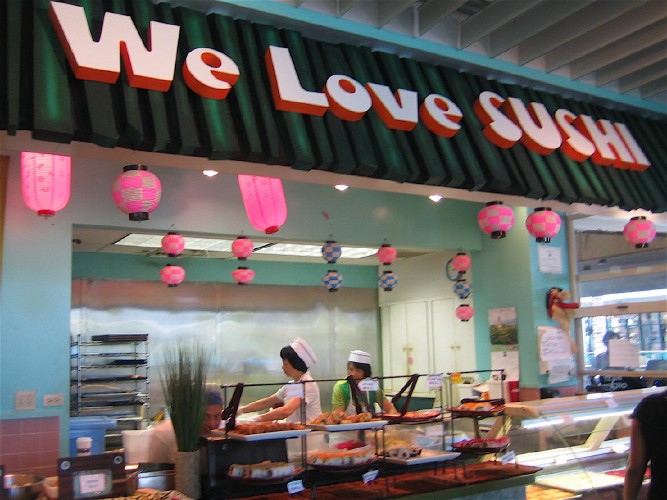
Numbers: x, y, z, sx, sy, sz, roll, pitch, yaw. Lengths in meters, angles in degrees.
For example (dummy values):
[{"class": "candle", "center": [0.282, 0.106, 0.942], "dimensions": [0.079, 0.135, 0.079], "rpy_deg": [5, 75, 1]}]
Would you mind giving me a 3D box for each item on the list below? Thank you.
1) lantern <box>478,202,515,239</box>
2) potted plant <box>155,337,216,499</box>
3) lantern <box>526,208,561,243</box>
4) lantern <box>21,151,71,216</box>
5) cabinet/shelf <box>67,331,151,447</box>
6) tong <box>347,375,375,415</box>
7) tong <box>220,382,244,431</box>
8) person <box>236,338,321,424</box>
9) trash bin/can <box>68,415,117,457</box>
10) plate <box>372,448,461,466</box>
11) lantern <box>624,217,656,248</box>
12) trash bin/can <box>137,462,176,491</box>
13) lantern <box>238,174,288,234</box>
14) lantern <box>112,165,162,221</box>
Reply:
[{"class": "lantern", "center": [1.419, -0.249, 5.244], "dimensions": [0.323, 0.331, 0.316], "rpy_deg": [-8, -5, 8]}, {"class": "potted plant", "center": [-0.915, 1.022, 3.528], "dimensions": [0.286, 0.886, 0.443], "rpy_deg": [2, -8, -12]}, {"class": "lantern", "center": [1.888, -0.216, 5.238], "dimensions": [0.255, 0.277, 0.323], "rpy_deg": [-4, -9, 27]}, {"class": "lantern", "center": [-2.601, -0.581, 5.256], "dimensions": [0.474, 0.631, 0.500], "rpy_deg": [1, 3, -2]}, {"class": "cabinet/shelf", "center": [-3.108, 1.929, 8.055], "dimensions": [0.865, 1.410, 0.586], "rpy_deg": [7, -20, -29]}, {"class": "tong", "center": [0.196, 1.017, 4.114], "dimensions": [0.184, 0.262, 0.341], "rpy_deg": [0, -8, 4]}, {"class": "tong", "center": [-0.625, 0.972, 3.579], "dimensions": [0.096, 0.386, 0.059], "rpy_deg": [12, -14, -10]}, {"class": "person", "center": [-0.468, 1.189, 5.052], "dimensions": [0.822, 0.827, 0.633], "rpy_deg": [5, -10, -36]}, {"class": "trash bin/can", "center": [-2.351, 1.821, 5.526], "dimensions": [0.542, 0.364, 0.360], "rpy_deg": [3, -7, -26]}, {"class": "plate", "center": [0.587, 1.404, 3.936], "dimensions": [0.612, 0.095, 0.103], "rpy_deg": [3, -8, -20]}, {"class": "lantern", "center": [2.964, -0.167, 5.647], "dimensions": [0.293, 0.314, 0.282], "rpy_deg": [-2, -11, 27]}, {"class": "trash bin/can", "center": [-1.071, 1.370, 3.600], "dimensions": [0.242, 0.220, 0.134], "rpy_deg": [0, -5, 0]}, {"class": "lantern", "center": [-0.677, -0.419, 5.816], "dimensions": [0.359, 0.673, 0.366], "rpy_deg": [-29, -14, 7]}, {"class": "lantern", "center": [-1.521, -0.434, 4.507], "dimensions": [0.384, 0.428, 0.376], "rpy_deg": [-2, -8, -31]}]
